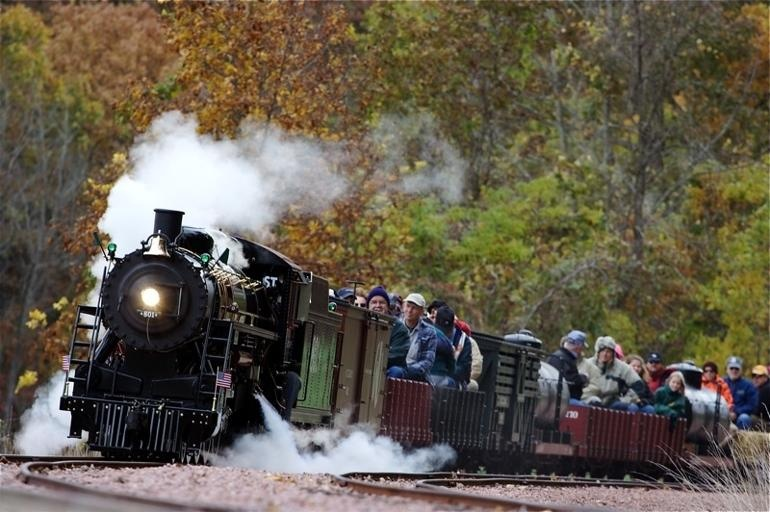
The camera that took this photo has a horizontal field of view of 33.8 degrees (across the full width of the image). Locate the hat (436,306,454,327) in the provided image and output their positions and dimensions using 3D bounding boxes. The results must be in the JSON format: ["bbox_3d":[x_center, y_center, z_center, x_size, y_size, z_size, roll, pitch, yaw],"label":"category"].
[{"bbox_3d":[1.463,1.500,31.181,0.362,0.525,0.510,7,-47,-7],"label":"hat"}]

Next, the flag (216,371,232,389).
[{"bbox_3d":[-3.422,2.574,26.344,0.315,0.333,0.034,6,-7,-18],"label":"flag"}]

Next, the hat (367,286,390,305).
[{"bbox_3d":[-0.189,0.930,31.293,0.413,0.368,0.429,-7,-18,30],"label":"hat"}]

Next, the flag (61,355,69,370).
[{"bbox_3d":[-6.740,2.224,26.428,0.166,0.320,0.207,7,-12,-19],"label":"flag"}]

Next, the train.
[{"bbox_3d":[1.075,2.910,30.975,18.242,5.345,2.550,12,-14,-34],"label":"train"}]

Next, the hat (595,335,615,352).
[{"bbox_3d":[5.810,2.286,33.396,0.349,0.409,0.511,2,-20,0],"label":"hat"}]
